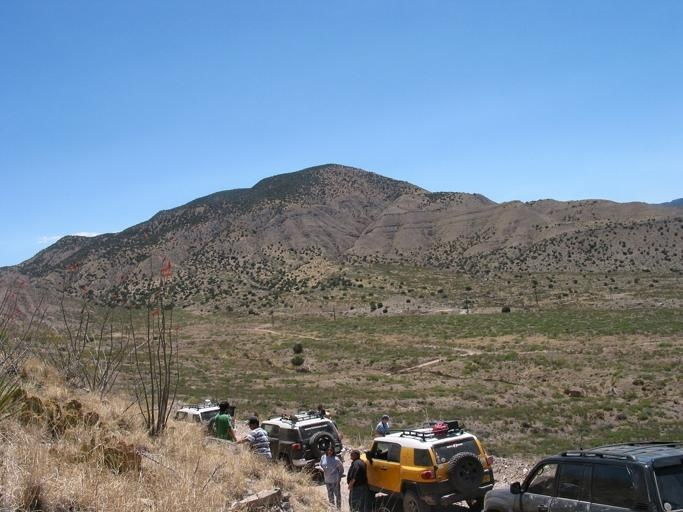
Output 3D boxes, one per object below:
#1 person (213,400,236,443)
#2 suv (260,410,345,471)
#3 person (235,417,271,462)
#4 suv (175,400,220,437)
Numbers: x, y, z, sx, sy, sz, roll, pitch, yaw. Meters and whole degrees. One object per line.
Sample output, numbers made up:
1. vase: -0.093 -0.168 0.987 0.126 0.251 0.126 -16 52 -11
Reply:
1. person: -3.626 5.063 20.127 0.798 1.158 0.387 10 18 38
2. suv: -1.498 5.975 21.508 1.331 1.028 2.239 1 -2 -32
3. person: -2.596 5.451 19.703 0.798 1.283 1.404 -2 -10 -8
4. suv: -5.643 6.426 25.887 1.854 1.047 1.126 -13 -7 35
